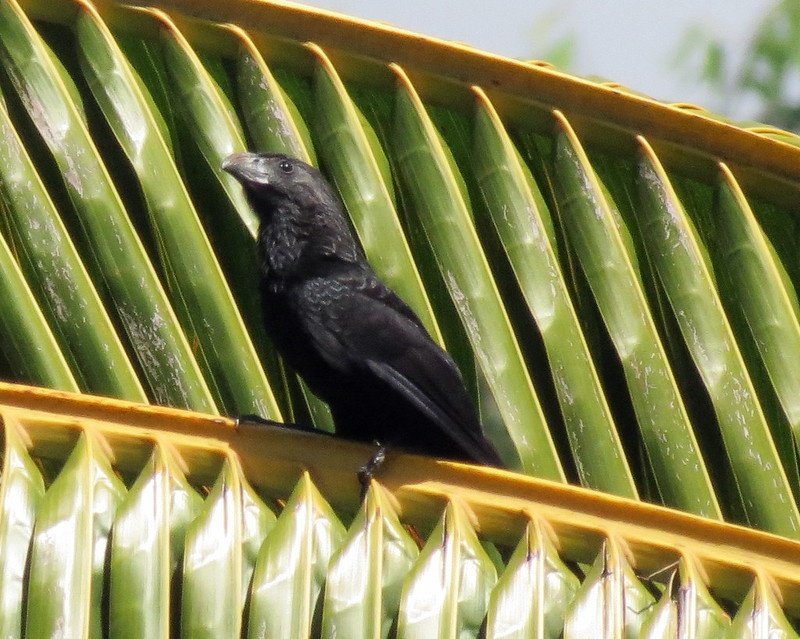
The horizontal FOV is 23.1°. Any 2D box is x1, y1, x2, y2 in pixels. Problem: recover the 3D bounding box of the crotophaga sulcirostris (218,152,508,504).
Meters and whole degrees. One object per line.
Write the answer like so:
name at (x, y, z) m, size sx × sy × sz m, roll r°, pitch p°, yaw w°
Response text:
crotophaga sulcirostris at (0.078, -0.001, 7.552) m, size 1.405 × 1.557 × 0.688 m, roll 5°, pitch -13°, yaw 4°
